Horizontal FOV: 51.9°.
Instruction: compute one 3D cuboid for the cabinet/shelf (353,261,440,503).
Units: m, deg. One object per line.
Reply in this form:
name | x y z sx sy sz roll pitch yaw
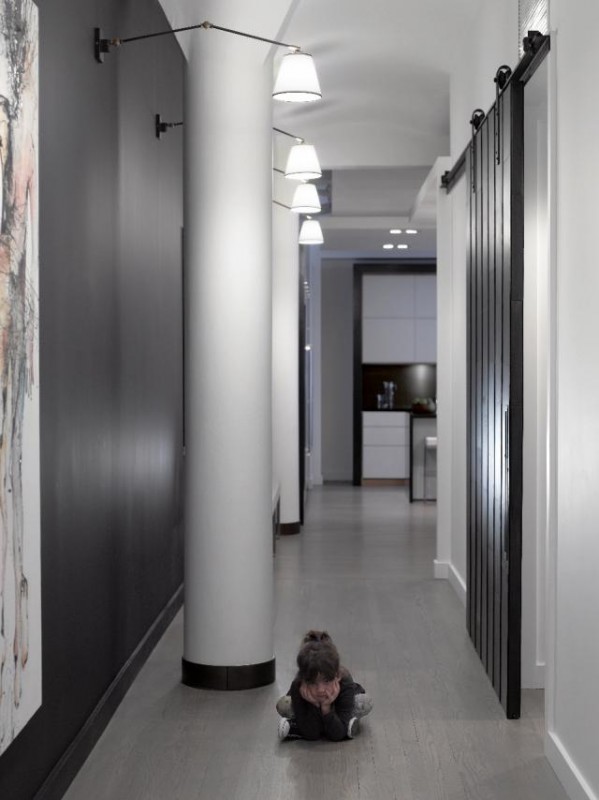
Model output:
cabinet/shelf | 1.477 -0.520 10.969 1.023 4.002 0.495 0 -3 7
